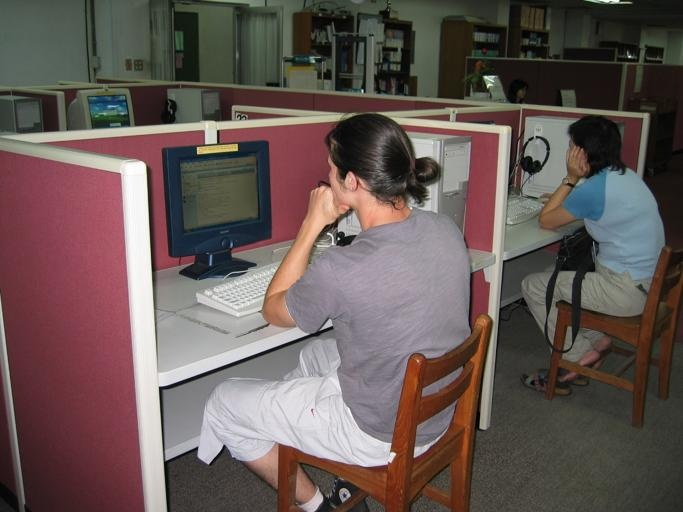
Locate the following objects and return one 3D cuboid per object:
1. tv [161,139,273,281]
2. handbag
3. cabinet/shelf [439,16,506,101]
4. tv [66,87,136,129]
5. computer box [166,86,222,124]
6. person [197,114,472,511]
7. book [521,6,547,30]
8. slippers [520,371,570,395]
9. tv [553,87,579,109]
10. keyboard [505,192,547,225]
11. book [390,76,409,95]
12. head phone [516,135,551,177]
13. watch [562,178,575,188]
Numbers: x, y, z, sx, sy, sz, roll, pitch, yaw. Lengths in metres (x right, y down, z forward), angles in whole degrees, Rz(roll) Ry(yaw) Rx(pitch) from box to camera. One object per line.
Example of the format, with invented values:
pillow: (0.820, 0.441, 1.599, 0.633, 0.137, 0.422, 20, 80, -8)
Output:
tv: (-0.506, -0.185, 2.157, 0.440, 0.503, 0.195, -13, 19, -40)
handbag: (1.154, 0.154, 2.754, 0.182, 0.583, 0.320, 8, 1, 27)
cabinet/shelf: (2.621, -3.927, 10.944, 0.791, 1.500, 1.500, 13, 21, 41)
tv: (-1.852, -1.130, 4.229, 0.304, 0.286, 0.440, 15, 23, 43)
computer box: (-1.298, -1.334, 4.874, 0.499, 0.278, 0.217, 7, 18, 24)
person: (0.005, 0.289, 1.758, 0.757, 1.431, 0.465, 8, 18, 28)
book: (4.064, -5.026, 11.707, 0.609, 0.607, 0.311, -18, 25, -40)
slippers: (1.065, 0.653, 2.884, 0.224, 0.094, 0.103, 18, 34, 35)
tv: (2.394, -1.676, 5.879, 0.160, 0.174, 2.282, 5, 18, 20)
keyboard: (1.007, -0.261, 3.063, 0.193, 0.059, 0.281, 19, 34, 37)
book: (1.016, -3.021, 9.784, 0.264, 0.300, 0.485, 7, 18, 26)
head phone: (1.179, -0.607, 3.361, 0.205, 0.282, 0.099, 20, 12, 37)
watch: (1.219, -0.388, 2.961, 0.052, 0.029, 0.052, 49, 12, 15)
